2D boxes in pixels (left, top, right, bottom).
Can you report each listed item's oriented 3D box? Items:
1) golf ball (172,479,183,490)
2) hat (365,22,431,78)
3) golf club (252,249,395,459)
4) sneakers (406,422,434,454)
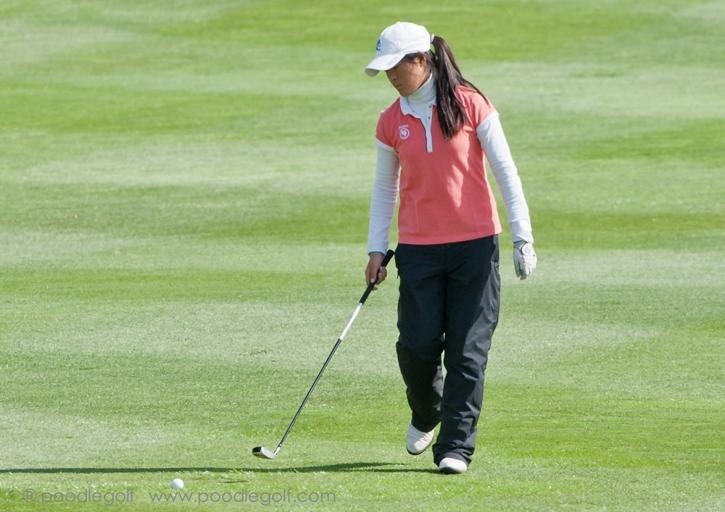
[{"bbox_3d":[-1.523,1.910,15.222,0.104,0.084,0.081,11,42,-20],"label":"golf ball"},{"bbox_3d":[0.327,-1.798,15.317,0.706,0.346,0.451,-19,15,-14],"label":"hat"},{"bbox_3d":[-0.328,0.997,17.146,0.302,2.046,0.253,20,-20,34],"label":"golf club"},{"bbox_3d":[0.516,1.574,15.634,0.157,0.357,0.128,-14,55,-19],"label":"sneakers"}]
